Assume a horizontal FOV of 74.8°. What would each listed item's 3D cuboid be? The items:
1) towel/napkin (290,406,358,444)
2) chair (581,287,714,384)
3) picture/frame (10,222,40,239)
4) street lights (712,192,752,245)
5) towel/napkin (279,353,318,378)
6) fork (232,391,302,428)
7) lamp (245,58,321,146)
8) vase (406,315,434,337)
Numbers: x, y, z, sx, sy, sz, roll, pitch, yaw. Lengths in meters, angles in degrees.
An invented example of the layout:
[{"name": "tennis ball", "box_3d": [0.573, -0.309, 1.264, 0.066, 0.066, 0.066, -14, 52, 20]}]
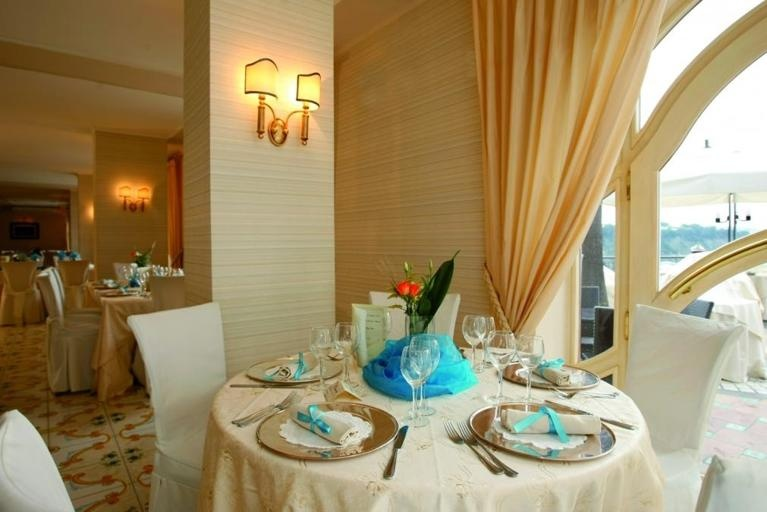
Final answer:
[{"name": "towel/napkin", "box_3d": [-0.272, 0.767, 2.303, 0.246, 0.087, 0.147, 16, 19, 32]}, {"name": "chair", "box_3d": [1.880, 0.600, 3.761, 0.627, 0.880, 0.602, 6, -8, -18]}, {"name": "picture/frame", "box_3d": [-12.733, -0.889, 17.722, 0.621, 0.463, 0.088, 1, -14, -39]}, {"name": "street lights", "box_3d": [2.345, -0.265, 3.361, 0.198, 0.325, 0.071, -3, 1, 38]}, {"name": "towel/napkin", "box_3d": [-0.466, 0.612, 2.779, 0.141, 0.068, 0.166, 0, 1, 3]}, {"name": "fork", "box_3d": [-0.565, 0.750, 2.431, 0.052, 0.047, 0.317, 15, 15, 36]}, {"name": "lamp", "box_3d": [-0.816, -1.220, 3.955, 0.763, 0.657, 0.246, 1, -1, -42]}, {"name": "vase", "box_3d": [0.200, 0.373, 2.665, 0.106, 0.121, 0.124, 1, -5, -4]}]
